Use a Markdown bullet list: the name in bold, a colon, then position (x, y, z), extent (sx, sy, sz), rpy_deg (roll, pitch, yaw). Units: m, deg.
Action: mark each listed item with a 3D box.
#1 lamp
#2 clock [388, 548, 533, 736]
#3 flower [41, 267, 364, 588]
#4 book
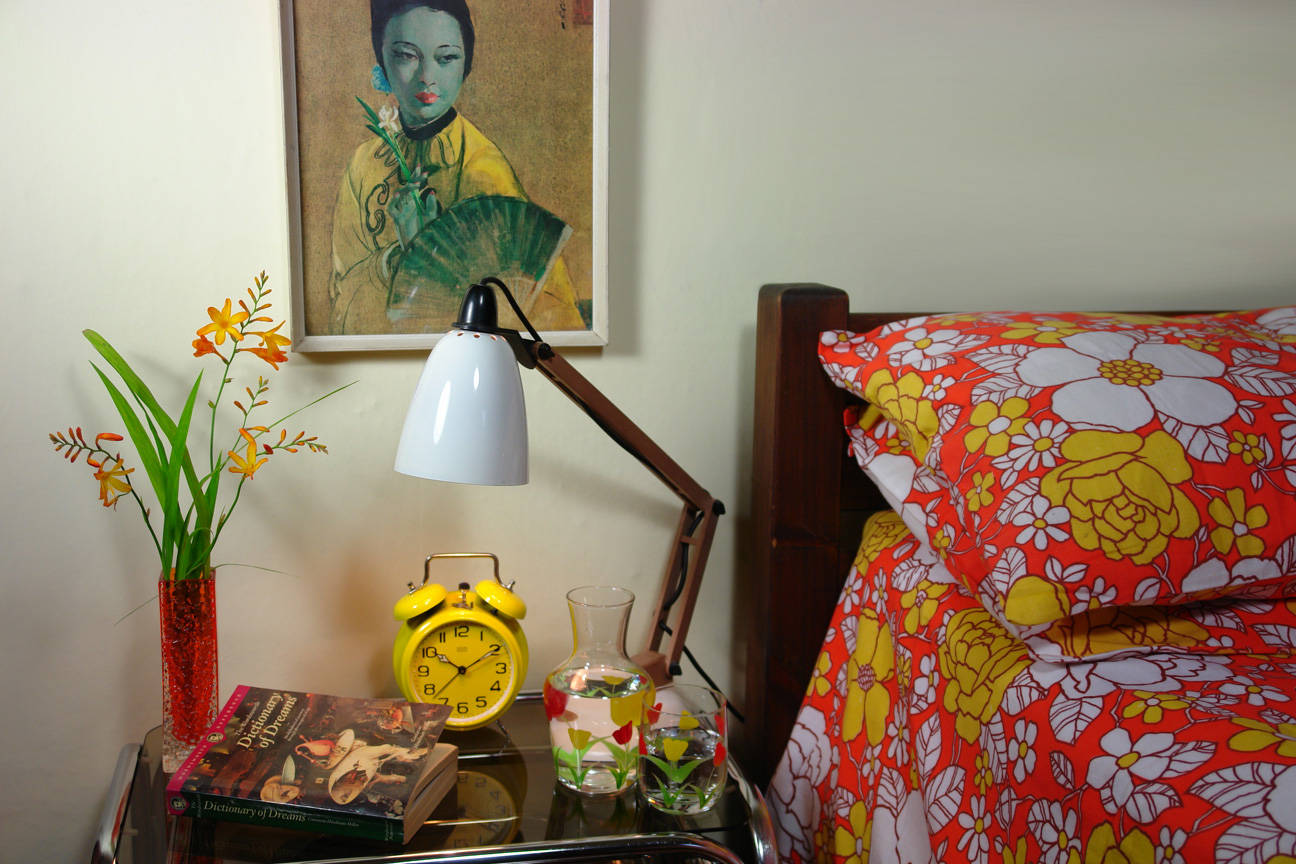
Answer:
- **lamp**: position (-0.130, 0.081, 1.629), extent (0.486, 0.598, 0.172), rpy_deg (-3, 15, -22)
- **clock**: position (-0.295, 0.339, 1.735), extent (0.213, 0.279, 0.139), rpy_deg (0, 7, -7)
- **flower**: position (-0.707, -0.015, 1.761), extent (0.340, 0.482, 0.356), rpy_deg (14, 18, 37)
- **book**: position (-0.466, 0.466, 1.529), extent (0.264, 0.070, 0.200), rpy_deg (6, 28, 11)
